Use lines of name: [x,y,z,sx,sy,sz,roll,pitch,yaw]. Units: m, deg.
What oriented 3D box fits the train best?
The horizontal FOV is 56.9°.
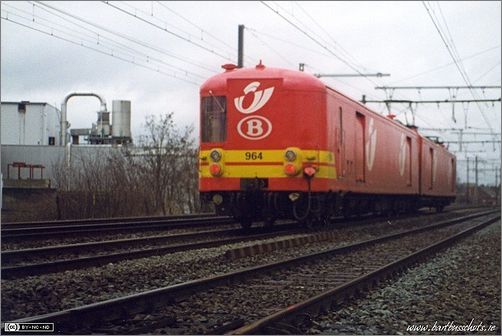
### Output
train: [6.253,-0.268,23.800,3.392,5.276,23.211,-1,-4,33]
